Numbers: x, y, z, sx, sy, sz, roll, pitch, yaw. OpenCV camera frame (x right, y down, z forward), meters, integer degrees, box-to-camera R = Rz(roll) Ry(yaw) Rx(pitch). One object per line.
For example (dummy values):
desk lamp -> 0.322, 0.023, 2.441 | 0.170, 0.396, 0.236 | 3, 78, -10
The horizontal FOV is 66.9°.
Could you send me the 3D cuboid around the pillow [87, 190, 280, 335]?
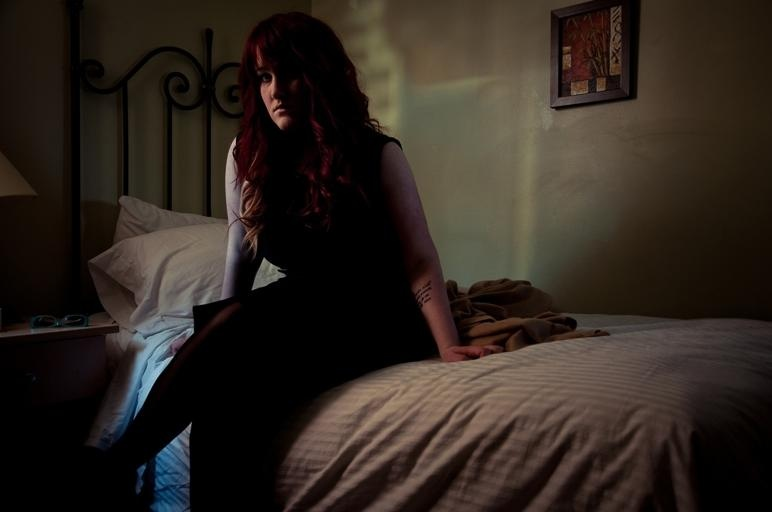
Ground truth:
pillow -> -0.959, 0.127, 2.785 | 0.673, 0.226, 0.653 | -18, 42, -21
